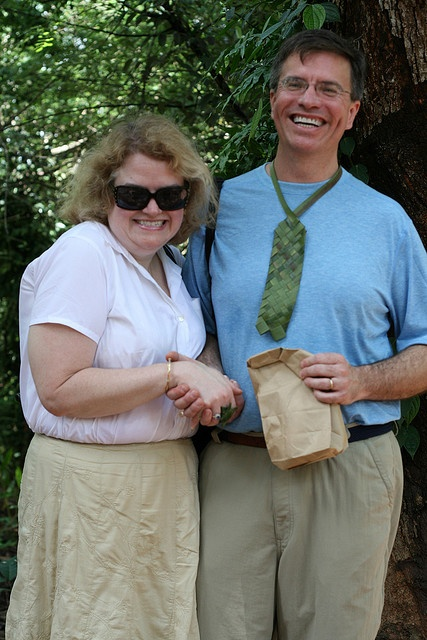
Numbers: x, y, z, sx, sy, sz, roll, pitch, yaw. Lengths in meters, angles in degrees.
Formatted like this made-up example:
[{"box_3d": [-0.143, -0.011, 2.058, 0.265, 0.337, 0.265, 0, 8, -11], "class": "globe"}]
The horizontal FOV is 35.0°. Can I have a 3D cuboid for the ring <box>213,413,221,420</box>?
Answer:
[{"box_3d": [0.013, 0.307, 2.143, 0.025, 0.021, 0.006, -4, 21, -21], "class": "ring"}]

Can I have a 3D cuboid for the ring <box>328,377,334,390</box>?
[{"box_3d": [0.353, 0.194, 2.034, 0.013, 0.027, 0.021, -7, 19, 3], "class": "ring"}]
